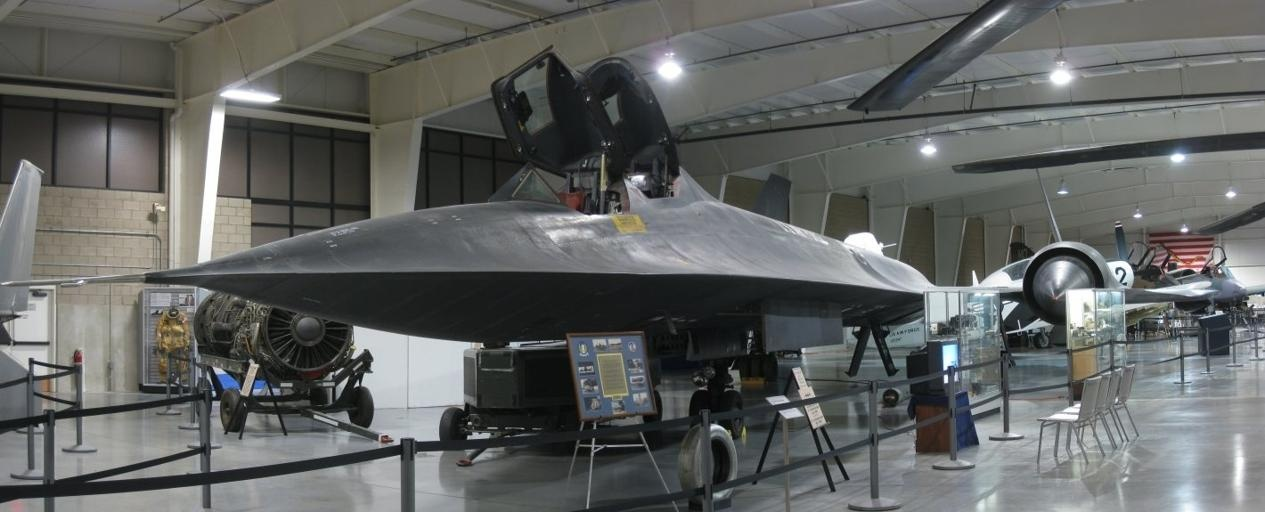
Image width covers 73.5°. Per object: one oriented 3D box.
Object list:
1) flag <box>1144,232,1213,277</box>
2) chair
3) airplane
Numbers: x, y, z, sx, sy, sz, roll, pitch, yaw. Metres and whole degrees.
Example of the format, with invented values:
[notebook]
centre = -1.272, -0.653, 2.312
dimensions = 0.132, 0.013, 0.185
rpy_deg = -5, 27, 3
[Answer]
[flag]
centre = 39.632, -0.105, 61.142
dimensions = 4.519, 2.054, 0.079
rpy_deg = 1, -10, 9
[chair]
centre = 15.078, 5.417, 28.023
dimensions = 1.408, 1.820, 3.751
rpy_deg = -2, -1, 37
[airplane]
centre = -0.855, -0.160, 26.751
dimensions = 21.038, 4.842, 19.421
rpy_deg = -1, -2, -33
